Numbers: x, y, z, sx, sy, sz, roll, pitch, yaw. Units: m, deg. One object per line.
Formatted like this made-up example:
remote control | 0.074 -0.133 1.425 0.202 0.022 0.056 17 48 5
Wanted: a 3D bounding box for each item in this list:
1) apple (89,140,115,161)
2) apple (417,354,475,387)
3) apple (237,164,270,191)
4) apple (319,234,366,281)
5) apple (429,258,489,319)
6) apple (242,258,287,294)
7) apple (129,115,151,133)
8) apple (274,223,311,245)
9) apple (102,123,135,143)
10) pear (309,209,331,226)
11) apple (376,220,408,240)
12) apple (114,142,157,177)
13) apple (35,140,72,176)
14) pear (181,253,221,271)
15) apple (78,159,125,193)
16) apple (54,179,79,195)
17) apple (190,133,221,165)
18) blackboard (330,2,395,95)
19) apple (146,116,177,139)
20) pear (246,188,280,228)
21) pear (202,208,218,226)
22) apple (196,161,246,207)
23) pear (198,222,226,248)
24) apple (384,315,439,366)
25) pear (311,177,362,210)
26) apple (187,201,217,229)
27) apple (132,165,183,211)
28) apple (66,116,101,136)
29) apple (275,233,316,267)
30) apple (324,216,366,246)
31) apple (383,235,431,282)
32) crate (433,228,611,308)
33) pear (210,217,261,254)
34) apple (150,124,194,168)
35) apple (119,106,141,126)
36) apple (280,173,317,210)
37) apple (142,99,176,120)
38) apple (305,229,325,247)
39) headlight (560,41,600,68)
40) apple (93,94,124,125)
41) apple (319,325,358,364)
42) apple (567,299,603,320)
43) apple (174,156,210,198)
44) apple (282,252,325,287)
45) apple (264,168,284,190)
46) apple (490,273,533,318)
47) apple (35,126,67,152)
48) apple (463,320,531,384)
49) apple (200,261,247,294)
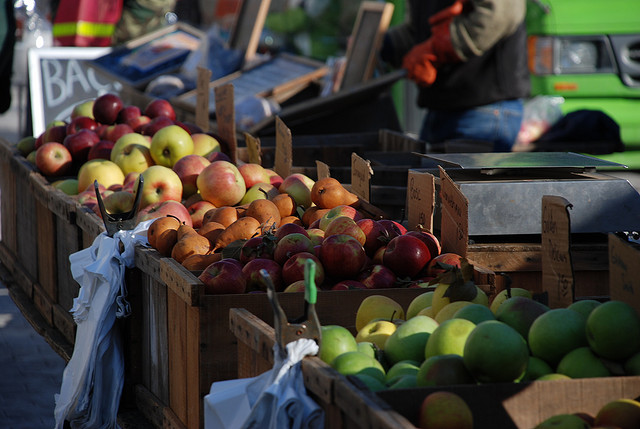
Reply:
apple | -1.695 -0.497 6.249 0.150 0.199 0.158 22 5 -29
apple | 0.557 0.669 3.629 0.149 0.174 0.161 -2 0 0
apple | -0.463 -0.276 5.607 0.166 0.205 0.217 -9 16 -6
apple | 0.124 0.236 4.424 0.211 0.247 0.228 5 1 7
apple | 0.746 0.375 4.134 0.249 0.328 0.266 0 -3 -26
apple | -0.308 0.349 4.444 0.176 0.190 0.182 -26 52 -11
apple | -1.472 -0.763 6.601 0.124 0.144 0.134 11 40 41
apple | -0.157 0.094 4.618 0.133 0.137 0.154 -29 -5 -41
apple | -1.618 -0.647 6.480 0.171 0.211 0.182 -12 5 35
pear | -0.007 0.006 5.086 0.099 0.064 0.082 -22 11 1
apple | 0.438 0.106 4.788 0.132 0.126 0.119 15 18 -17
apple | -1.383 -0.419 6.010 0.277 0.273 0.271 8 -40 -28
apple | -2.083 -0.434 6.285 0.228 0.267 0.246 3 7 -13
pear | -0.668 0.279 4.617 0.184 0.098 0.099 -15 -7 -15
apple | -1.619 -0.300 5.907 0.242 0.263 0.263 -6 -25 -10
apple | -1.915 -0.195 6.108 0.112 0.124 0.120 2 -3 -22
apple | -0.865 -0.492 6.168 0.219 0.307 0.226 4 4 41
blackboard | 0.510 -1.852 8.832 0.318 0.956 0.734 -4 9 -39
apple | -1.265 -0.711 6.373 0.170 0.195 0.178 0 25 -32
pear | -0.333 -0.007 4.998 0.156 0.250 0.169 -16 -37 30
pear | -0.716 0.000 5.210 0.088 0.100 0.094 -19 -19 -3
apple | -0.666 -0.199 5.394 0.265 0.298 0.293 18 -30 1
pear | -0.669 0.121 4.857 0.146 0.146 0.135 1 -18 -5
apple | 0.424 0.606 3.835 0.201 0.219 0.216 34 8 -3
pear | 0.108 -0.152 5.161 0.265 0.143 0.179 14 37 -21
apple | -0.772 -0.012 5.299 0.164 0.179 0.157 -19 8 -31
apple | -1.099 -0.191 5.520 0.284 0.293 0.300 -37 29 9
apple | -1.986 -0.725 6.718 0.196 0.221 0.201 1 1 -28
apple | -0.145 0.207 4.557 0.173 0.190 0.177 5 -22 -41
apple | 0.145 0.076 4.637 0.168 0.180 0.168 39 10 38
apple | 0.501 0.249 4.560 0.228 0.240 0.240 -18 17 36
crate | 1.385 0.278 4.923 0.552 0.430 0.620 -1 1 1
pear | -0.484 0.116 4.826 0.321 0.155 0.147 -36 -27 -12
apple | -1.129 -0.548 6.084 0.268 0.299 0.340 29 26 -13
apple | -1.596 -0.828 6.754 0.151 0.215 0.164 2 -20 -18
apple | -0.100 -0.157 5.459 0.166 0.222 0.161 2 23 -20
apple | -1.369 -0.879 6.826 0.230 0.222 0.203 2 -11 -20
apple | -0.027 0.131 4.718 0.078 0.091 0.101 -21 -45 19
headlight | 3.274 -1.989 10.049 0.595 0.333 0.133 0 7 -19
apple | -1.822 -0.895 6.874 0.266 0.299 0.261 -10 25 -28
apple | 0.088 0.618 3.793 0.139 0.192 0.158 0 -14 -6
apple | 1.300 0.454 3.924 0.085 0.069 0.112 -2 1 -8
apple | -0.920 -0.274 5.667 0.230 0.331 0.252 1 9 9
apple | -0.091 0.305 4.429 0.176 0.194 0.195 19 34 -10
apple | -0.337 -0.260 5.821 0.115 0.166 0.122 -12 16 -31
apple | 0.991 0.417 4.176 0.186 0.306 0.205 -4 -5 7
apple | -2.255 -0.634 6.789 0.214 0.307 0.242 -1 3 -4
apple | 0.802 0.700 3.683 0.275 0.364 0.369 1 -20 12
apple | -0.517 0.345 4.300 0.169 0.188 0.181 11 29 -35
